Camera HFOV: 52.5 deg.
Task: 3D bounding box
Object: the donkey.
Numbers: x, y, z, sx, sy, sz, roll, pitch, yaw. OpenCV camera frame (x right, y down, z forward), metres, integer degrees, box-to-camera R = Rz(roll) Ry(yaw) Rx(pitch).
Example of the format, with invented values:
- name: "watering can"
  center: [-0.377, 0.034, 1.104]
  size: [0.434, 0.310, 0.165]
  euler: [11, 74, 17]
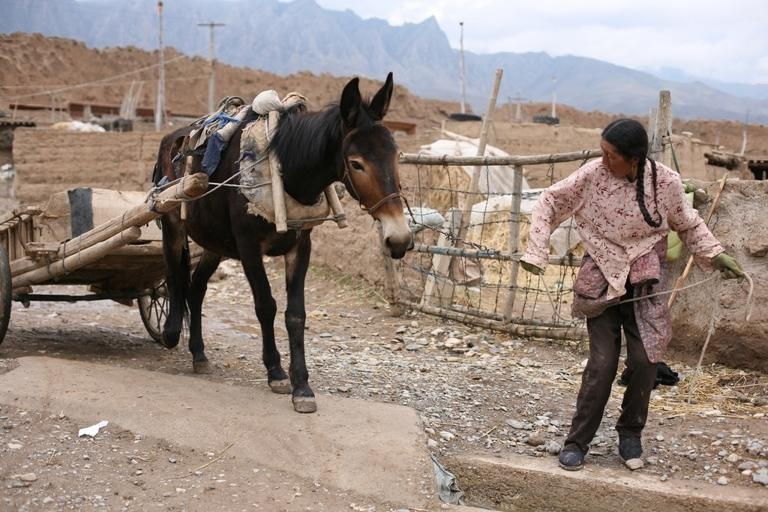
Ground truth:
- name: "donkey"
  center: [-1.203, -0.060, 7.715]
  size: [1.221, 2.732, 4.557]
  euler: [3, 0, -35]
